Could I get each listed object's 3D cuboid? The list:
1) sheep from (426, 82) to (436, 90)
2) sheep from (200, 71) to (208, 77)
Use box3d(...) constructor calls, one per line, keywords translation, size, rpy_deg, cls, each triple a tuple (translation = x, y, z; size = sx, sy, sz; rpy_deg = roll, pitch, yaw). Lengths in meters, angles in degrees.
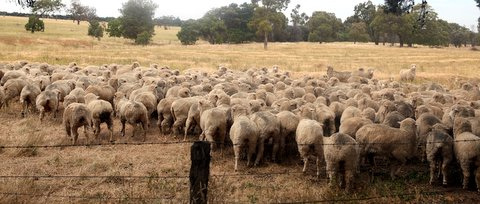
box3d(translation=(27.561, -2.310, 67.323), size=(1.301, 0.914, 0.895), rpy_deg=(5, 9, 22), cls="sheep")
box3d(translation=(-5.621, -4.375, 71.891), size=(1.490, 0.425, 1.599), rpy_deg=(3, 6, -13), cls="sheep")
